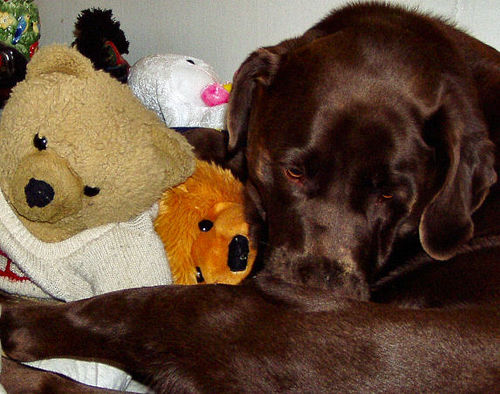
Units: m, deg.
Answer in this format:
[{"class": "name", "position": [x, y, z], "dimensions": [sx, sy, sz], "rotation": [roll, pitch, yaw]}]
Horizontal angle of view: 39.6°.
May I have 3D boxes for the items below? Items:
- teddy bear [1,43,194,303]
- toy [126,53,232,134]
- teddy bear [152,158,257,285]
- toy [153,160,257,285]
[{"class": "teddy bear", "position": [-0.365, -0.039, 1.584], "dimensions": [0.421, 0.497, 0.365], "rotation": [8, 34, 8]}, {"class": "toy", "position": [-0.194, -0.362, 2.236], "dimensions": [0.376, 0.179, 0.225], "rotation": [13, 43, 6]}, {"class": "teddy bear", "position": [-0.119, 0.065, 1.741], "dimensions": [0.336, 0.148, 0.318], "rotation": [1, 40, 10]}, {"class": "toy", "position": [-0.123, 0.087, 1.702], "dimensions": [0.121, 0.277, 0.267], "rotation": [-20, 16, 49]}]
